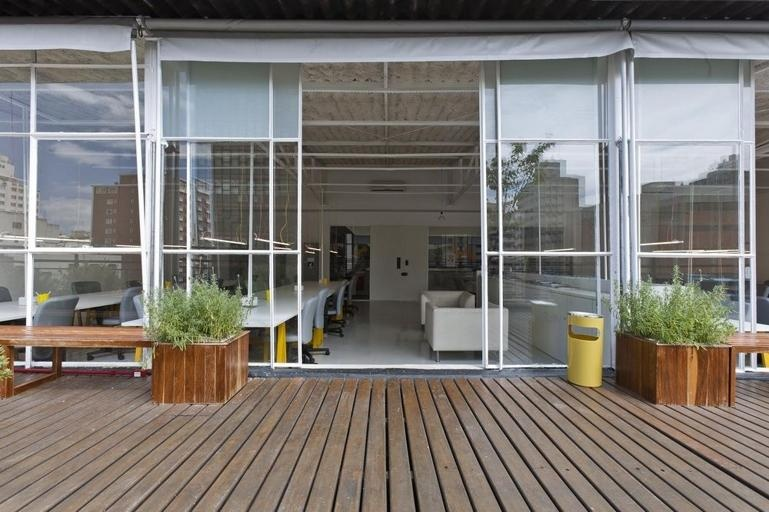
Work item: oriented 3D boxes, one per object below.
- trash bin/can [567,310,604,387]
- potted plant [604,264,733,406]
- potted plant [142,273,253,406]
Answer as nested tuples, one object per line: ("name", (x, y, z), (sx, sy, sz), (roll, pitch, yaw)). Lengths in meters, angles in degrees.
("trash bin/can", (2.510, 1.161, 7.595), (0.417, 0.777, 0.379), (-1, 0, 17))
("potted plant", (3.674, 0.938, 7.492), (1.154, 1.577, 1.372), (-3, 3, 7))
("potted plant", (-2.175, 1.028, 7.521), (1.292, 1.415, 1.115), (-4, -4, 17))
